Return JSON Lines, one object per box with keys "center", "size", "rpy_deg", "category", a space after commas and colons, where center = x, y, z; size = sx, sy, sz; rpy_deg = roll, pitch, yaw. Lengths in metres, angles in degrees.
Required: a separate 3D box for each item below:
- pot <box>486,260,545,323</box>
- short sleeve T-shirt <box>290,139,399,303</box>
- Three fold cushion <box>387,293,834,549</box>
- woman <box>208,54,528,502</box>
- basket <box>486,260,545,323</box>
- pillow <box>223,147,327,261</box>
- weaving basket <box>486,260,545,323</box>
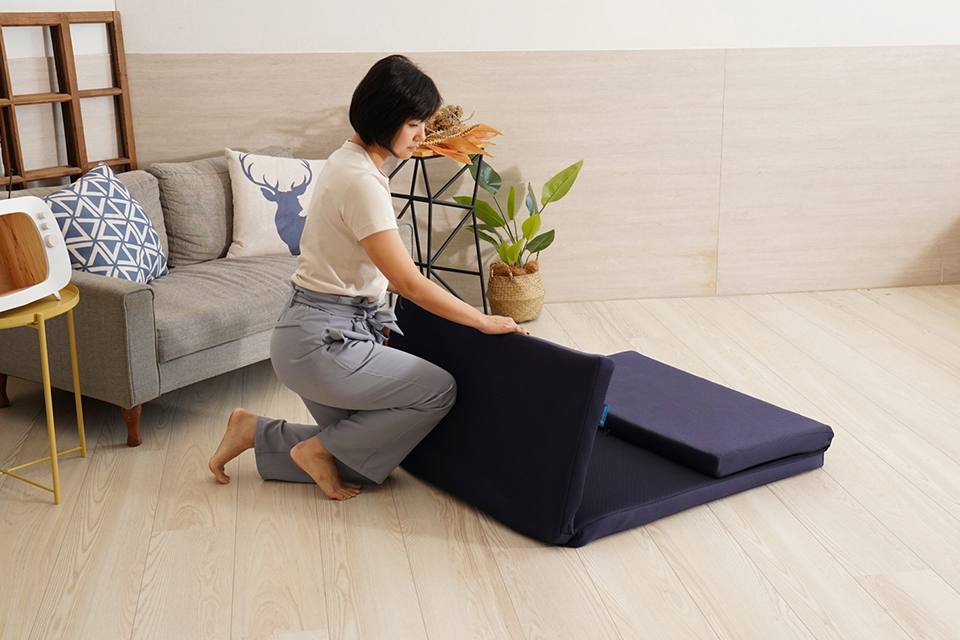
{"center": [0.229, -0.162, 4.148], "size": [0.323, 0.286, 0.322], "rpy_deg": [-3, 15, 1], "category": "pot"}
{"center": [-0.462, -0.304, 2.288], "size": [0.288, 0.573, 0.345], "rpy_deg": [-22, 40, -37], "category": "short sleeve T-shirt"}
{"center": [0.507, 0.341, 2.842], "size": [1.478, 0.506, 1.309], "rpy_deg": [-6, 12, -29], "category": "Three fold cushion"}
{"center": [-0.214, -0.101, 2.566], "size": [1.228, 1.629, 1.039], "rpy_deg": [11, 10, 40], "category": "woman"}
{"center": [0.217, -0.181, 4.153], "size": [0.355, 0.392, 0.428], "rpy_deg": [2, -1, 9], "category": "basket"}
{"center": [-1.164, -0.639, 3.693], "size": [0.254, 0.567, 0.692], "rpy_deg": [10, 14, 30], "category": "pillow"}
{"center": [0.231, -0.167, 4.153], "size": [0.335, 0.293, 0.328], "rpy_deg": [14, 26, 42], "category": "weaving basket"}
